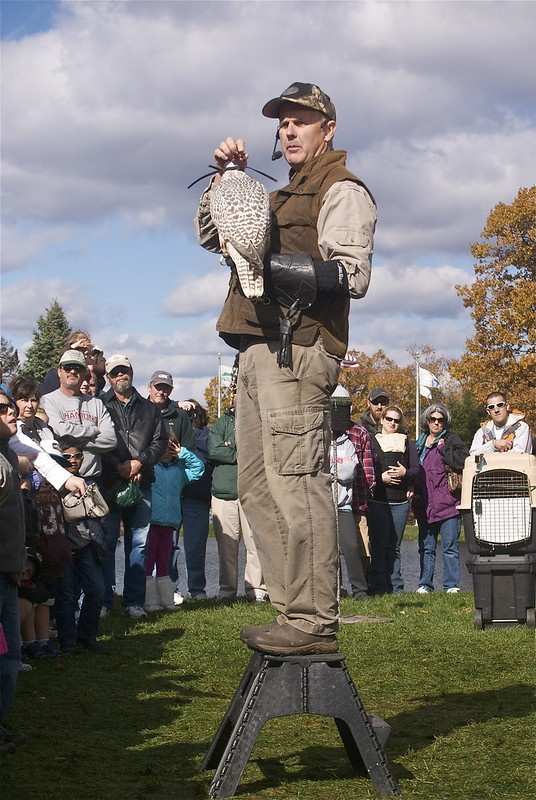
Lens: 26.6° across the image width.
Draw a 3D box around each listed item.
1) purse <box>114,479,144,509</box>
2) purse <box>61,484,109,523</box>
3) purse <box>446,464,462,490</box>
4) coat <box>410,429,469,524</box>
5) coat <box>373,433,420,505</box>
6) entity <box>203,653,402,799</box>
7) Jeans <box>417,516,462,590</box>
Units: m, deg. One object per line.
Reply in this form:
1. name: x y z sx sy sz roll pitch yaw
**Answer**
1. purse: -1.120 0.744 9.000 0.249 0.275 0.154 10 1 -27
2. purse: -1.162 0.649 7.073 0.364 0.284 0.162 -7 -13 -10
3. purse: 1.860 0.796 11.281 0.121 0.219 0.114 -2 -4 6
4. coat: 1.684 0.766 11.119 0.532 0.851 0.765 14 -22 -19
5. coat: 1.273 0.626 11.484 0.535 0.518 0.311 10 7 -7
6. entity: 0.141 1.259 4.530 0.668 0.411 0.612 1 -7 -3
7. Jeans: 1.725 1.546 11.366 0.424 0.765 1.105 -2 -4 7
